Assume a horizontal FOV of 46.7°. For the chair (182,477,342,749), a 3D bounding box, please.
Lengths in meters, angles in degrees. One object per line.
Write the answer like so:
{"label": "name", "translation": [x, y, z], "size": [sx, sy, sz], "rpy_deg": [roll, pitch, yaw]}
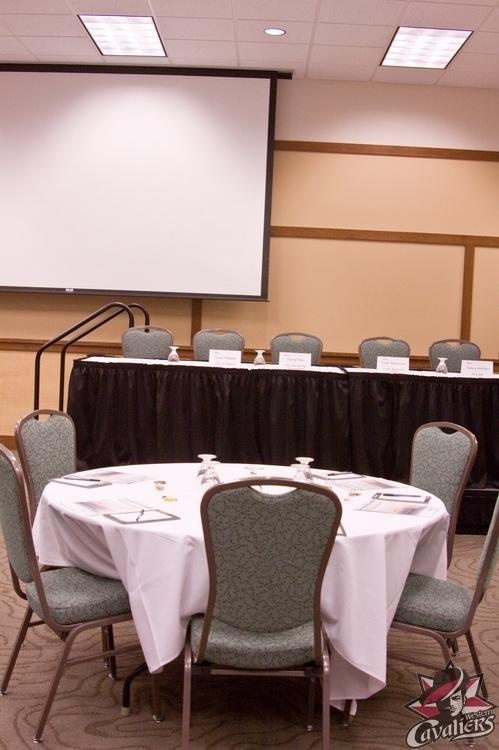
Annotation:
{"label": "chair", "translation": [0.014, 0.589, 1.364], "size": [0.358, 0.815, 0.264], "rpy_deg": [-2, 10, -3]}
